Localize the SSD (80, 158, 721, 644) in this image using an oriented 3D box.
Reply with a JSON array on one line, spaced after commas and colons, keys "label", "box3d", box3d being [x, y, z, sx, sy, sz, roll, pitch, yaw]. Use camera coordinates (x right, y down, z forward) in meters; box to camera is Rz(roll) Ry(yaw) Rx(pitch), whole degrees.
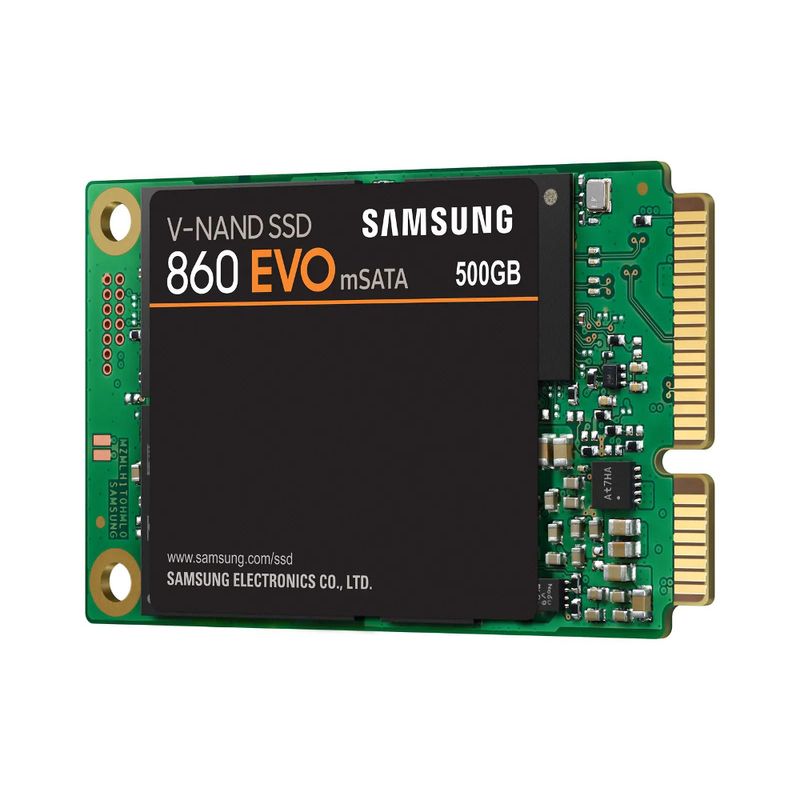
[{"label": "SSD", "box3d": [-0.194, 0.074, 7.579, 5.283, 3.274, 0.260, -3, -8, 22]}]
